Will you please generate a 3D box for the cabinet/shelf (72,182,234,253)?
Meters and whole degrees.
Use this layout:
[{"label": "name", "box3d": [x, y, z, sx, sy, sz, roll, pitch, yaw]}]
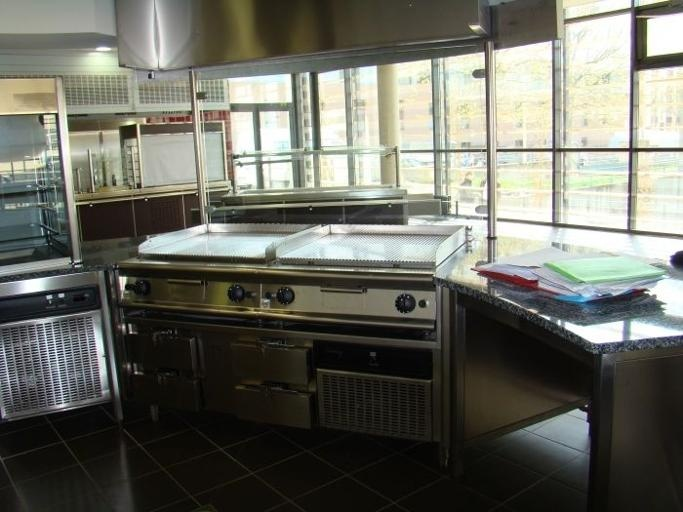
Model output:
[{"label": "cabinet/shelf", "box3d": [-2.268, -0.507, 6.096, 1.256, 0.516, 0.293, -12, 14, -39]}]
